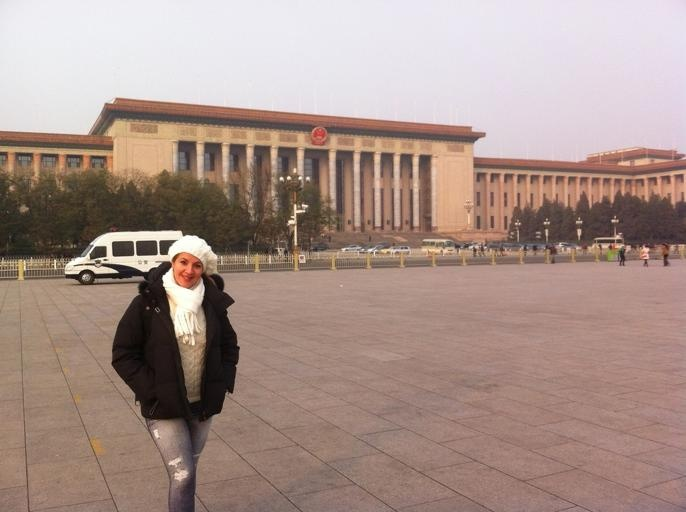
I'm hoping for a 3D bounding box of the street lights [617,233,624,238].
[{"bbox_3d":[38.043,-2.974,92.963,0.690,0.878,0.881,0,-8,3],"label":"street lights"}]

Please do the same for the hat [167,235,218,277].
[{"bbox_3d":[-1.134,-0.058,5.306,0.282,0.332,0.158,11,16,-10],"label":"hat"}]

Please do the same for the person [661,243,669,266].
[{"bbox_3d":[19.395,-0.086,40.709,0.347,1.254,1.593,1,6,25],"label":"person"}]
